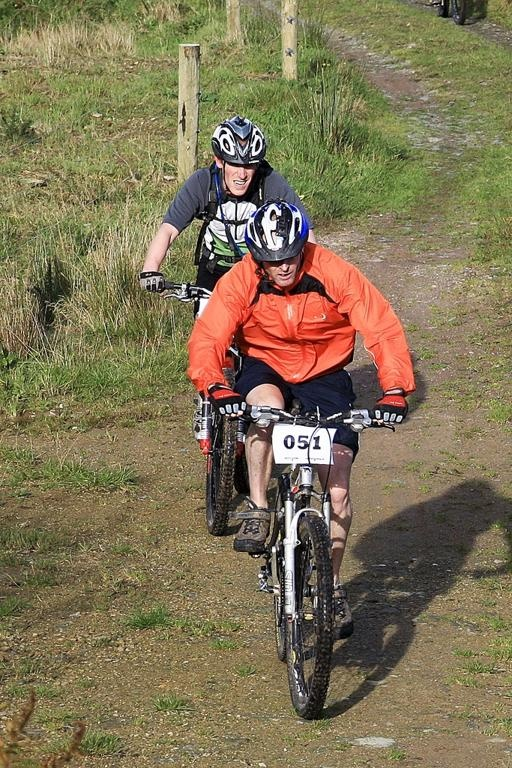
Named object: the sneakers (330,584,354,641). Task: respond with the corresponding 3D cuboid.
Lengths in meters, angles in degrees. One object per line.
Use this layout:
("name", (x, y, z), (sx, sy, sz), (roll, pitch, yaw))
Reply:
("sneakers", (0.336, 0.907, 5.110), (0.095, 0.145, 0.250), (-10, 14, 10))

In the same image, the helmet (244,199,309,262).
("helmet", (0.072, -0.664, 5.161), (0.283, 0.157, 0.361), (-5, 40, 2))

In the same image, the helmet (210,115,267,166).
("helmet", (-0.103, -1.337, 6.746), (0.294, 0.204, 0.401), (-3, 24, -10))

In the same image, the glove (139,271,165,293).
("glove", (-0.567, -0.537, 6.648), (0.137, 0.118, 0.181), (-1, 15, -6))

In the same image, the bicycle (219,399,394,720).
("bicycle", (0.216, 0.696, 4.993), (0.557, 1.218, 0.959), (-5, 16, -20))

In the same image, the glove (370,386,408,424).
("glove", (0.533, 0.098, 4.948), (0.132, 0.134, 0.205), (3, 15, 9))
